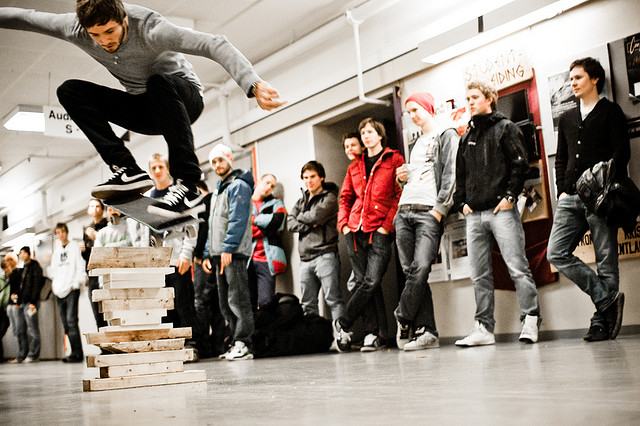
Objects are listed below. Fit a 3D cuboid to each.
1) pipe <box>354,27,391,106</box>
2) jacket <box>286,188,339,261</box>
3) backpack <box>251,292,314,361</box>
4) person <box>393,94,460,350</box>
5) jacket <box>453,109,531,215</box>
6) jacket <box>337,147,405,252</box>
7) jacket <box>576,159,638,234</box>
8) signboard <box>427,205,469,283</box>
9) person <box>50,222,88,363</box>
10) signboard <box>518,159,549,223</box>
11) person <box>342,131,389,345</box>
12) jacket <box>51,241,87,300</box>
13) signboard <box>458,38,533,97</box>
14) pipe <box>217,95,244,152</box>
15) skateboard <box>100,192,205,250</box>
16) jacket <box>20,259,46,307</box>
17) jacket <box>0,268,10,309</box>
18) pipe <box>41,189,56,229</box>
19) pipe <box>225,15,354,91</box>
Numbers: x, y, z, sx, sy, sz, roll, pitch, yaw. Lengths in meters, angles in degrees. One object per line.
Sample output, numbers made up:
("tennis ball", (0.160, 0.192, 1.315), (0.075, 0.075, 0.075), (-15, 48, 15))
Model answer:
("pipe", (0.616, -1.849, 6.617), (0.361, 1.054, 0.520), (-4, -10, 6))
("jacket", (-0.086, 0.149, 6.650), (0.660, 0.846, 0.381), (-11, -13, 37))
("backpack", (-0.448, 1.206, 6.021), (0.486, 0.783, 0.232), (-3, -11, -16))
("person", (1.109, 0.037, 5.680), (0.805, 2.632, 0.690), (-6, -11, 15))
("jacket", (1.645, -0.460, 5.166), (0.476, 1.117, 0.833), (14, -18, -43))
("jacket", (0.526, -0.193, 5.940), (0.733, 1.067, 0.285), (-11, -13, 37))
("jacket", (2.406, -0.168, 4.540), (0.585, 0.467, 0.248), (39, -39, -8))
("signboard", (1.344, 0.299, 5.685), (0.114, 0.805, 0.702), (11, -17, -35))
("person", (-4.186, 1.293, 9.118), (0.421, 2.340, 0.921), (6, -13, -40))
("signboard", (2.057, -0.223, 5.231), (0.080, 0.575, 0.506), (4, -15, -17))
("person", (0.526, 0.240, 6.119), (0.428, 2.470, 0.370), (-7, -2, 1))
("jacket", (-4.228, 0.950, 9.145), (0.931, 0.969, 0.235), (-10, -12, 34))
("signboard", (1.824, -1.498, 5.564), (0.637, 0.403, 0.085), (-18, -15, 41))
("pipe", (-1.449, -1.418, 8.567), (0.295, 1.002, 0.521), (4, -12, -33))
("skateboard", (-1.475, 0.087, 4.890), (0.653, 0.175, 0.323), (29, 28, 12))
("jacket", (-5.638, 1.368, 10.664), (0.383, 0.888, 0.619), (3, -12, -28))
("jacket", (-6.983, 1.649, 12.031), (0.197, 0.857, 1.263), (3, -12, -30))
("pipe", (-6.944, -0.102, 13.796), (0.210, 1.058, 0.546), (5, -13, -38))
("pipe", (-0.262, -2.349, 7.574), (1.840, 0.273, 0.192), (-12, -14, 43))
